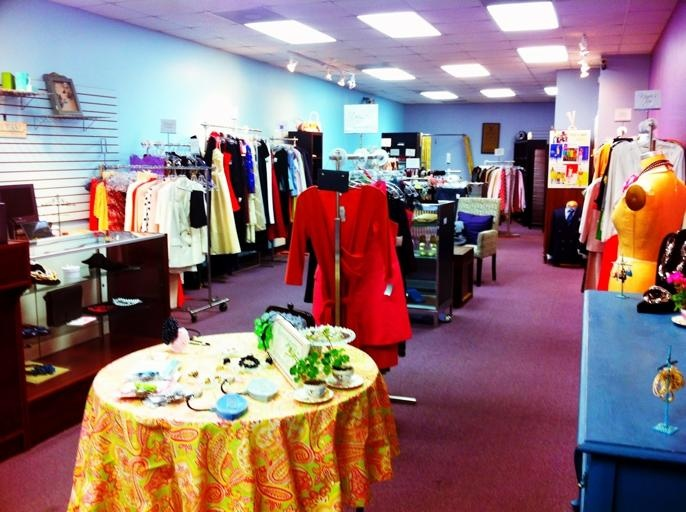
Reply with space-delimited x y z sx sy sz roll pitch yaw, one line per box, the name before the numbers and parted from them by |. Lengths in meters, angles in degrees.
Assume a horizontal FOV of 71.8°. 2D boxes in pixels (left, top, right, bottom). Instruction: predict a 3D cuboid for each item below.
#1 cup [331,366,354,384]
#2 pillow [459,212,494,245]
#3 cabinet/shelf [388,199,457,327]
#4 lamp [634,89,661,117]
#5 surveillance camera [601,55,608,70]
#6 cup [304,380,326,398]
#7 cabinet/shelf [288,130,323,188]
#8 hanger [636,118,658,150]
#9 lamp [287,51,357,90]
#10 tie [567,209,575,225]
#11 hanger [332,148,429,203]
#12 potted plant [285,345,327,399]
cup | -0.003 0.458 1.851 0.062 0.050 0.067 1 7 0
pillow | 1.937 -0.401 6.914 0.388 0.407 0.216 7 -27 17
cabinet/shelf | 0.910 0.063 5.133 0.411 1.326 0.880 9 14 39
lamp | 3.051 -1.581 4.748 0.206 0.176 0.212 6 13 27
surveillance camera | 4.298 -3.201 7.809 0.166 0.213 0.088 -10 15 -43
cup | -0.102 0.479 1.736 0.061 0.046 0.063 1 7 0
cabinet/shelf | -0.683 -1.822 8.604 0.551 0.998 1.091 0 11 -2
hanger | 2.463 -0.985 3.842 0.120 0.246 0.291 7 13 30
lamp | -0.351 -3.510 9.245 1.057 0.325 3.572 2 12 9
tie | 3.708 -0.671 7.724 0.134 0.227 0.081 7 13 29
hanger | 0.304 -0.729 4.025 0.691 0.394 0.947 8 5 39
potted plant | -0.118 0.433 1.829 0.117 0.180 0.175 1 8 8
